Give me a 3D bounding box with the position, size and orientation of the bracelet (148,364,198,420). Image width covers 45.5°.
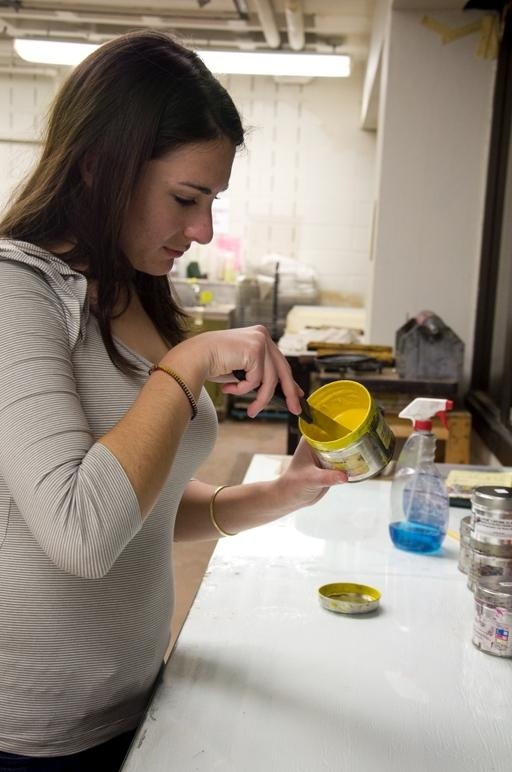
[{"bbox_3d":[-0.066,0.005,0.495,0.038,0.042,0.025,0,8,-11],"label":"bracelet"}]
